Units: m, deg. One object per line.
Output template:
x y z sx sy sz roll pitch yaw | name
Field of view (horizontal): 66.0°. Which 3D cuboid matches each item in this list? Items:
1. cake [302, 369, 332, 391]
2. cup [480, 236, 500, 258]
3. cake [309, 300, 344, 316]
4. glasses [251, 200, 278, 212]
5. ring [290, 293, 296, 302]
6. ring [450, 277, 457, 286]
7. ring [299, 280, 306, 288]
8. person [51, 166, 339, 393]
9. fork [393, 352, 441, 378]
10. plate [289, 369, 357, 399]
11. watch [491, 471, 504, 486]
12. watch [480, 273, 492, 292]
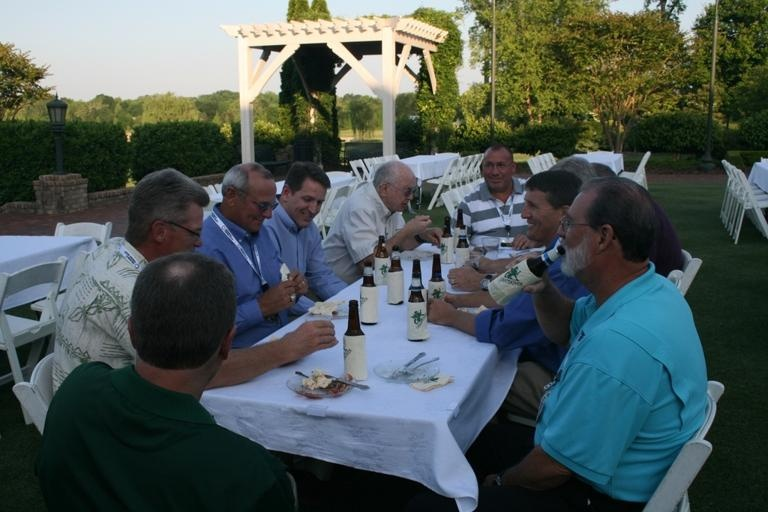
-0.297 0.575 2.717 0.086 0.048 0.100 3 12 8 | cake
0.940 -0.070 5.286 0.162 0.199 0.177 0 4 0 | cup
-0.336 0.338 3.695 0.122 0.041 0.127 2 8 17 | cake
-0.774 -0.319 3.812 0.125 0.042 0.125 12 16 27 | glasses
-0.536 0.256 3.531 0.026 0.043 0.042 10 46 -8 | ring
0.494 0.193 4.182 0.035 0.051 0.017 21 20 26 | ring
-0.487 0.174 3.554 0.031 0.014 0.041 5 19 3 | ring
-0.992 0.099 3.006 1.147 1.043 0.875 -5 25 -22 | person
0.154 0.518 2.920 0.086 0.028 0.235 11 19 25 | fork
-0.276 0.605 2.697 0.192 0.035 0.151 0 14 -22 | plate
0.515 1.018 2.666 0.046 0.039 0.034 1 24 18 | watch
0.646 0.177 3.745 0.052 0.083 0.086 13 52 29 | watch
